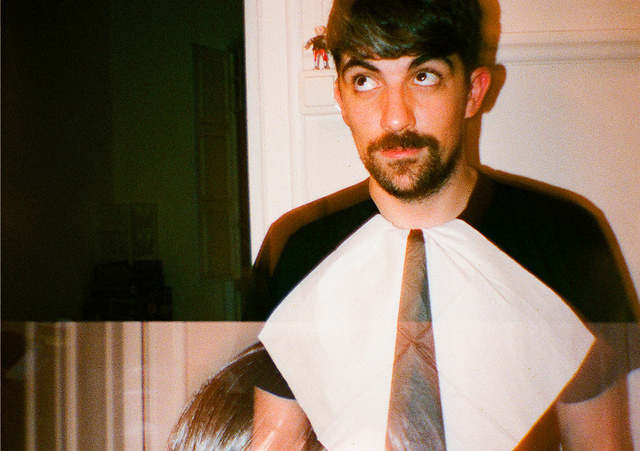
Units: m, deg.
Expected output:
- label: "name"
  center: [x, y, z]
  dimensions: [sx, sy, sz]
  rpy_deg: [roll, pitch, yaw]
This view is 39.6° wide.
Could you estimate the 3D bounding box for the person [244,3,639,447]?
- label: "person"
  center: [0.527, 0.008, 3.328]
  dimensions: [1.203, 2.146, 0.613]
  rpy_deg: [-2, 0, 10]
